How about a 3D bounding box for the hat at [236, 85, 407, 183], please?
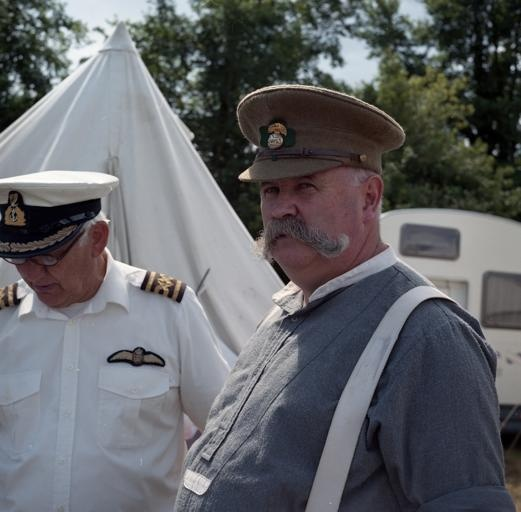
[{"bbox_3d":[0.409,-0.686,6.839,0.708,0.295,0.630,8,-12,-39],"label":"hat"}]
